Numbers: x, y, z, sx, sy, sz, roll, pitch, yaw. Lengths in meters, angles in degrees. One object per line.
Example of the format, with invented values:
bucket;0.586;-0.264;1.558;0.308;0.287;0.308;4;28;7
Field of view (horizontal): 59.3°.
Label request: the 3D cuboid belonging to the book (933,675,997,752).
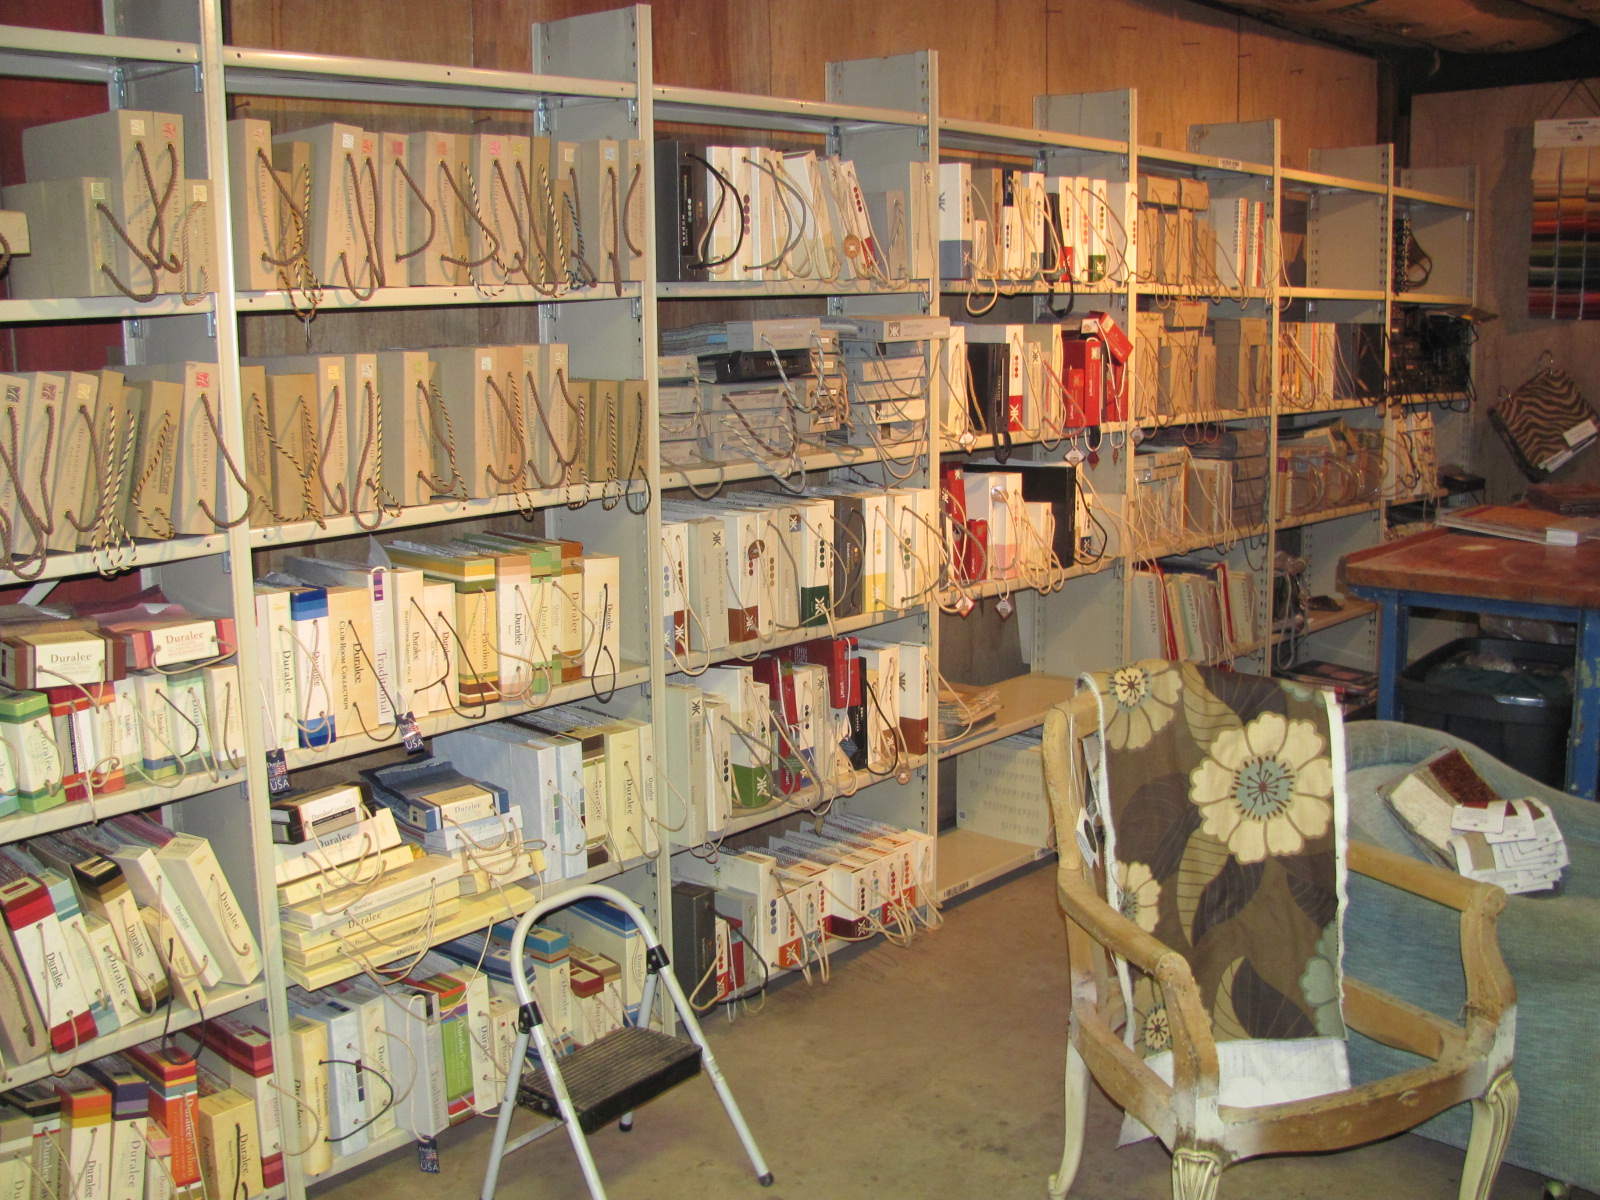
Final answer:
book;0.573;0.384;4.784;0.200;0.056;0.209;-17;22;-39
